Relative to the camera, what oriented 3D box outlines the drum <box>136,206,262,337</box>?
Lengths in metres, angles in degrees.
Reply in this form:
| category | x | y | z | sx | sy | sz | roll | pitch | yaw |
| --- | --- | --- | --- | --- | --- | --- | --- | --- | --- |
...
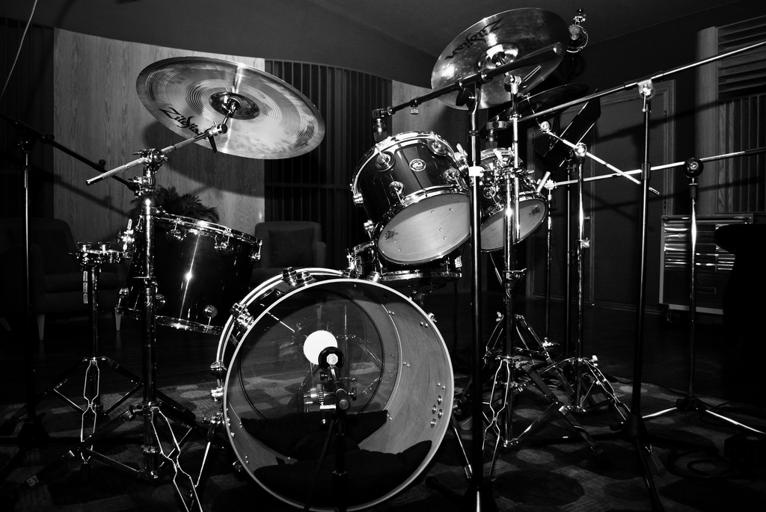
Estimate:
| category | x | y | z | sx | sy | sz | roll | pitch | yaw |
| --- | --- | --- | --- | --- | --- | --- | --- | --- | --- |
| drum | -1.115 | 0.109 | 4.496 | 0.688 | 0.616 | 0.694 | 10 | -16 | 14 |

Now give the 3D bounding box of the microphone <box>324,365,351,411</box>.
| category | x | y | z | sx | sy | sz | roll | pitch | yaw |
| --- | --- | --- | --- | --- | --- | --- | --- | --- | --- |
| microphone | -0.250 | 0.711 | 3.852 | 0.161 | 0.247 | 0.325 | 1 | -6 | -4 |

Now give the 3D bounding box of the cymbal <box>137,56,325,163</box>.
| category | x | y | z | sx | sy | sz | roll | pitch | yaw |
| --- | --- | --- | --- | --- | --- | --- | --- | --- | --- |
| cymbal | -0.922 | -0.905 | 4.400 | 0.827 | 0.202 | 0.824 | 16 | -43 | -15 |

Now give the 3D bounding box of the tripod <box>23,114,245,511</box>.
| category | x | y | z | sx | sy | sz | roll | pitch | yaw |
| --- | --- | --- | --- | --- | --- | --- | --- | --- | --- |
| tripod | -1.413 | 0.284 | 4.348 | 0.892 | 2.322 | 0.821 | 2 | -6 | -10 |

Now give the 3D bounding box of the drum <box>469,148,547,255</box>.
| category | x | y | z | sx | sy | sz | roll | pitch | yaw |
| --- | --- | --- | --- | --- | --- | --- | --- | --- | --- |
| drum | 0.747 | -0.374 | 4.761 | 0.587 | 0.513 | 0.574 | -6 | -30 | -30 |

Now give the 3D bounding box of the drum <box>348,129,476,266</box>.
| category | x | y | z | sx | sy | sz | roll | pitch | yaw |
| --- | --- | --- | --- | --- | --- | --- | --- | --- | --- |
| drum | 0.218 | -0.389 | 4.552 | 0.637 | 0.520 | 0.675 | -19 | -28 | -11 |
